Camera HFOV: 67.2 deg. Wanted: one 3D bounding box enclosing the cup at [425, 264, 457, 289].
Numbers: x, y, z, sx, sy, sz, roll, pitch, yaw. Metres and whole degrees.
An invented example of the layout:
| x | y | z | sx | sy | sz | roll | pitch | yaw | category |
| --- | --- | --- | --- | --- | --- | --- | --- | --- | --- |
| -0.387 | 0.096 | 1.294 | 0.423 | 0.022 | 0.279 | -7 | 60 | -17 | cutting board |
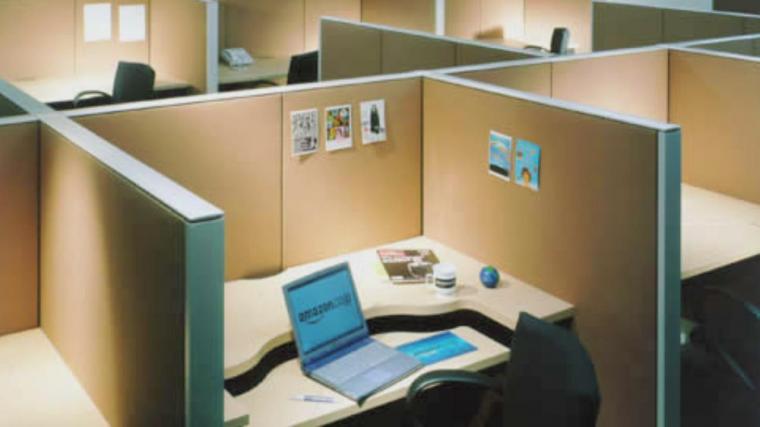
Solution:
| x | y | z | sx | sy | sz | roll | pitch | yaw | category |
| --- | --- | --- | --- | --- | --- | --- | --- | --- | --- |
| 0.324 | 0.308 | 2.888 | 0.126 | 0.085 | 0.122 | 0 | 12 | 0 | cup |

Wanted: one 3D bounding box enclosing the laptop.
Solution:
| x | y | z | sx | sy | sz | roll | pitch | yaw | category |
| --- | --- | --- | --- | --- | --- | --- | --- | --- | --- |
| -0.140 | 0.500 | 2.510 | 0.420 | 0.415 | 0.467 | -18 | 24 | -36 | laptop |

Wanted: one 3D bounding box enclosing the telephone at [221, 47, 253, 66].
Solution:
| x | y | z | sx | sy | sz | roll | pitch | yaw | category |
| --- | --- | --- | --- | --- | --- | --- | --- | --- | --- |
| -1.644 | -1.784 | 6.478 | 0.320 | 0.105 | 0.303 | -10 | 36 | -27 | telephone |
